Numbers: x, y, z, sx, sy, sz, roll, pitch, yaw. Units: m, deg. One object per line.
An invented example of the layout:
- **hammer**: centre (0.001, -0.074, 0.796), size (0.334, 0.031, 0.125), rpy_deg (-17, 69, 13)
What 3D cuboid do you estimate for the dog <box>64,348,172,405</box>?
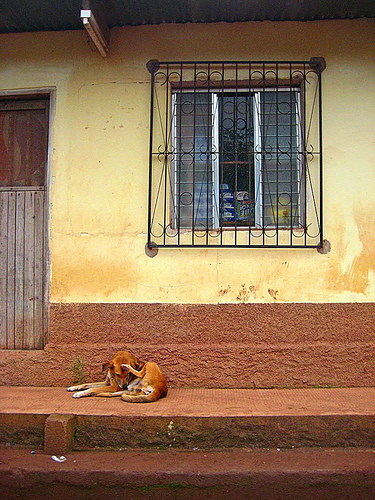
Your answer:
- **dog**: centre (-0.632, 1.182, 7.894), size (0.787, 0.264, 0.518), rpy_deg (0, -10, 9)
